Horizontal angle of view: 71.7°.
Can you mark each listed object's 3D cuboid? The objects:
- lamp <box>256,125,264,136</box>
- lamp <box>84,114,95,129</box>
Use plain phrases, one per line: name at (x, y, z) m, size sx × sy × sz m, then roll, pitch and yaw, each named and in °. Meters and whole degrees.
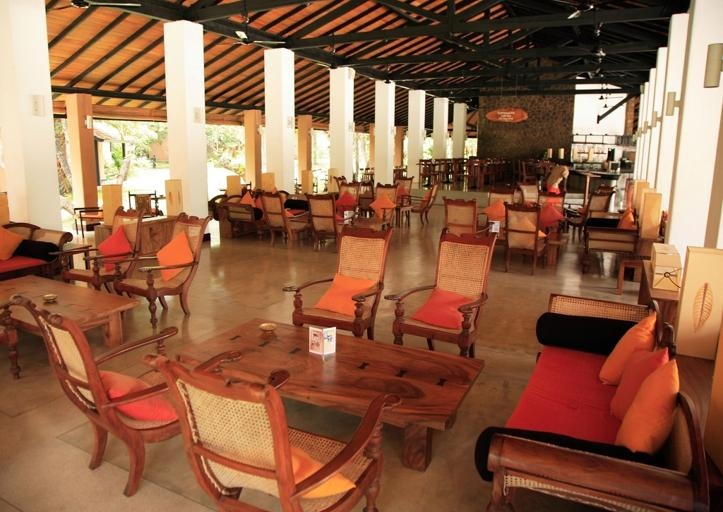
lamp at (-3.225, -4.012, 15.813) m, size 0.195 × 0.305 × 0.933 m, roll -5°, pitch 9°, yaw -14°
lamp at (-6.208, -3.060, 11.409) m, size 0.094 × 0.307 × 0.151 m, roll 2°, pitch 13°, yaw 23°
